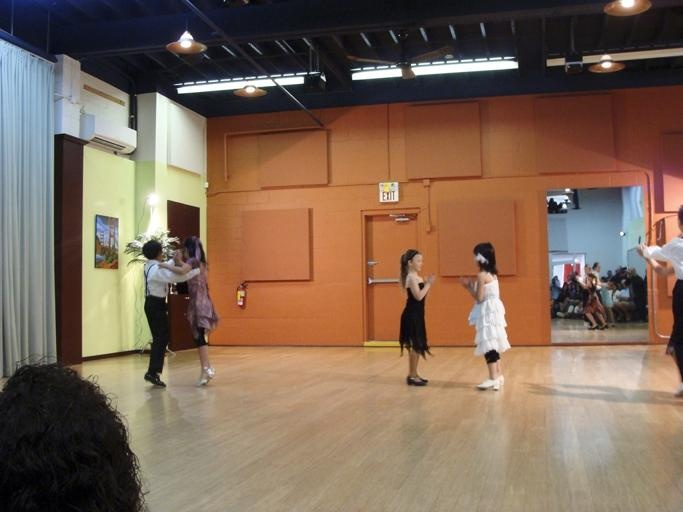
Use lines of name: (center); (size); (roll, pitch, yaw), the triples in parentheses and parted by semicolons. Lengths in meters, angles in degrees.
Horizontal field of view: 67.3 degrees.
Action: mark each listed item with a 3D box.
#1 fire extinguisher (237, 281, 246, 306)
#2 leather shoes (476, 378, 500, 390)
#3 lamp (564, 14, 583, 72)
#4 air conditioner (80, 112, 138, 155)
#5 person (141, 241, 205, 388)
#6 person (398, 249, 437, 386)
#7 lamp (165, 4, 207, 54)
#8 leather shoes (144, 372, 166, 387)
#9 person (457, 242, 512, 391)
fire extinguisher: (-2.011, 0.770, 10.131); (0.243, 0.501, 0.175); (-1, -4, 9)
leather shoes: (1.555, 1.355, 5.437); (0.253, 0.124, 0.100); (-1, -5, 1)
lamp: (3.607, -3.187, 7.980); (0.254, 0.643, 1.383); (-2, -4, 25)
air conditioner: (-3.834, -1.962, 8.359); (0.318, 0.413, 1.097); (5, 2, 10)
person: (-2.015, 0.640, 5.878); (0.509, 1.689, 0.910); (1, -4, -25)
person: (0.838, 0.686, 5.770); (0.360, 1.510, 0.536); (-1, -4, 7)
lamp: (-1.947, -2.695, 6.377); (0.465, 0.573, 0.528); (-2, -4, -10)
leather shoes: (-2.121, 1.390, 5.828); (0.215, 0.174, 0.237); (0, -4, -19)
person: (1.519, 0.631, 5.417); (0.420, 1.530, 0.409); (-2, -4, 17)
